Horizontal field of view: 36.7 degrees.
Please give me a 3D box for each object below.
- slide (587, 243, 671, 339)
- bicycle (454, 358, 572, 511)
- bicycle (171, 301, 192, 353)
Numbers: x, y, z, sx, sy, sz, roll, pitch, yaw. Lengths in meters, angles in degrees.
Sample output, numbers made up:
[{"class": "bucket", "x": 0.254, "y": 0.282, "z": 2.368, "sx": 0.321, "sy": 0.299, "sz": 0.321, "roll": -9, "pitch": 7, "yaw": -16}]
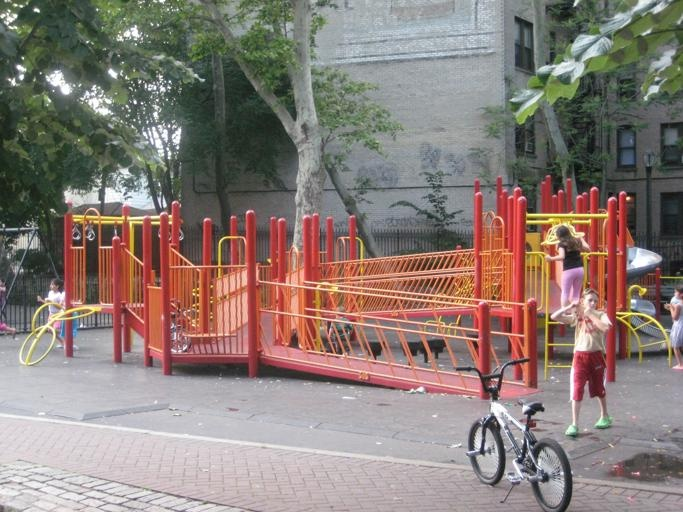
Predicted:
[{"class": "slide", "x": 6.981, "y": 0.884, "z": 25.833, "sx": 2.907, "sy": 1.827, "sz": 2.065, "roll": 8, "pitch": 5, "yaw": 25}, {"class": "bicycle", "x": 1.965, "y": 2.172, "z": 12.211, "sx": 0.954, "sy": 1.336, "sz": 1.918, "roll": -5, "pitch": 3, "yaw": -23}, {"class": "bicycle", "x": -2.969, "y": 1.288, "z": 18.891, "sx": 0.267, "sy": 0.849, "sz": 0.586, "roll": -2, "pitch": 31, "yaw": 5}]
